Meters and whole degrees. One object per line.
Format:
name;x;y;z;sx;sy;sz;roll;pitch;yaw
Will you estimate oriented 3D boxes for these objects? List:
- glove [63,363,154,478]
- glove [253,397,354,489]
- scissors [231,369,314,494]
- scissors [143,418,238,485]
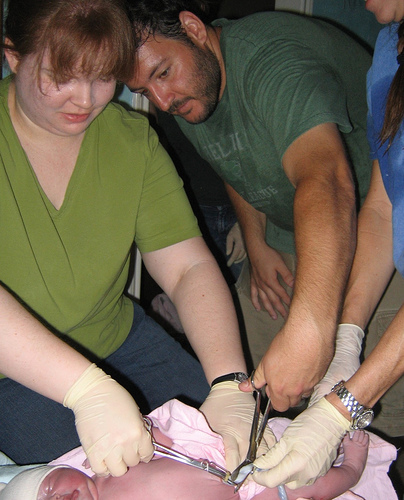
glove;-0.254;0.386;1.147;0.188;0.118;0.270;-34;87;-26
glove;0.258;0.458;1.166;0.161;0.111;0.279;17;46;31
scissors;0.154;0.431;1.162;0.121;0.022;0.276;21;62;30
scissors;-0.023;0.462;1.077;0.221;0.031;0.069;20;86;8
